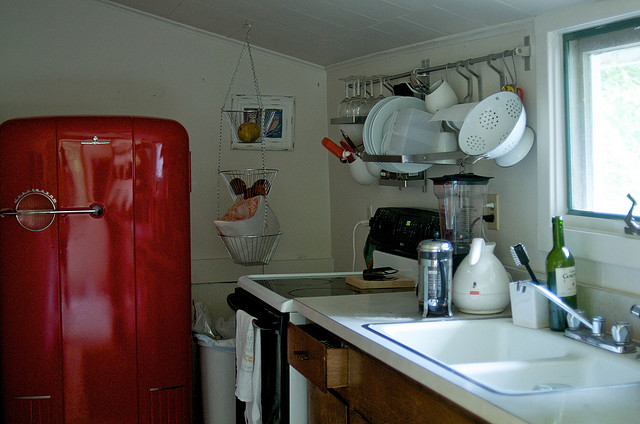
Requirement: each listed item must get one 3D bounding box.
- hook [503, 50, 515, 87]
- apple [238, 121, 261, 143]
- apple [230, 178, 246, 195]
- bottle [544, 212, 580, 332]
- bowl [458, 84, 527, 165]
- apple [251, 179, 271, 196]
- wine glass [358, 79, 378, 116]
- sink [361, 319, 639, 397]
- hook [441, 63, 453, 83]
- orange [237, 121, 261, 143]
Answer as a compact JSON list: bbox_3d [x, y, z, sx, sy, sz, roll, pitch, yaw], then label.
[{"bbox_3d":[0.816,-0.629,2.356,0.038,0.158,0.051,-6,-7,-32],"label":"hook"},{"bbox_3d":[-0.423,-0.471,3.118,0.121,0.113,0.147,-6,6,-32],"label":"apple"},{"bbox_3d":[-0.474,-0.148,3.090,0.092,0.087,0.068,-3,4,-5],"label":"apple"},{"bbox_3d":[0.932,0.213,2.072,0.110,0.406,0.298,-1,5,26],"label":"bottle"},{"bbox_3d":[0.707,-0.359,2.213,0.268,0.273,0.128,-2,4,14],"label":"bowl"},{"bbox_3d":[-0.335,-0.140,3.001,0.102,0.085,0.183,-3,5,-1],"label":"apple"},{"bbox_3d":[0.241,-0.551,2.767,0.099,0.110,0.199,-2,5,7],"label":"wine glass"},{"bbox_3d":[0.598,0.496,1.890,0.848,0.160,0.401,-2,5,5],"label":"sink"},{"bbox_3d":[0.611,-0.673,2.598,0.049,0.110,0.191,-2,5,16],"label":"hook"},{"bbox_3d":[-0.405,-0.459,3.062,0.110,0.111,0.110,-3,15,-25],"label":"orange"}]
